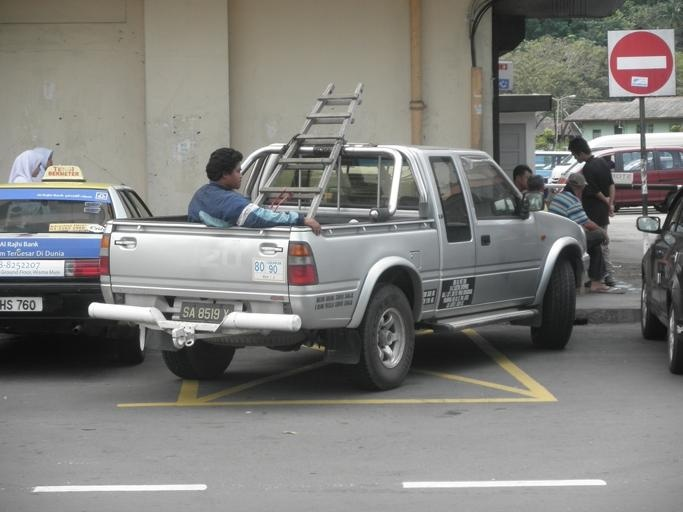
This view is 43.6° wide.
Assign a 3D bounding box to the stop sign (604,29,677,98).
[{"bbox_3d":[4.114,-2.659,11.698,0.914,0.931,0.493,1,7,12],"label":"stop sign"}]

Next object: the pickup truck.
[{"bbox_3d":[0.394,-0.073,8.862,2.267,1.752,4.624,3,6,37],"label":"pickup truck"}]

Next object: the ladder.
[{"bbox_3d":[-0.462,-1.329,10.274,0.761,0.359,2.840,4,51,29],"label":"ladder"}]

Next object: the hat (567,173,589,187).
[{"bbox_3d":[3.491,-1.127,12.583,0.358,0.192,0.546,4,6,21],"label":"hat"}]

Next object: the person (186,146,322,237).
[{"bbox_3d":[-0.935,-0.630,8.079,0.906,0.673,1.955,-1,11,-29],"label":"person"}]
